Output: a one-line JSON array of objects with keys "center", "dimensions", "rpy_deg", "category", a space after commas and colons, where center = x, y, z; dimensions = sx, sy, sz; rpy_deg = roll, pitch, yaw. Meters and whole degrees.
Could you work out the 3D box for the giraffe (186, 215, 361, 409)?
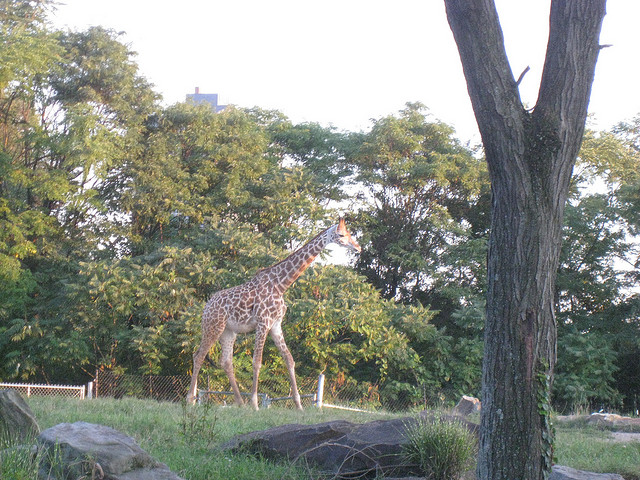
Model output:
[{"center": [-1.469, 1.994, 23.204], "dimensions": [3.806, 4.825, 1.315], "rpy_deg": [2, -15, 5], "category": "giraffe"}]
